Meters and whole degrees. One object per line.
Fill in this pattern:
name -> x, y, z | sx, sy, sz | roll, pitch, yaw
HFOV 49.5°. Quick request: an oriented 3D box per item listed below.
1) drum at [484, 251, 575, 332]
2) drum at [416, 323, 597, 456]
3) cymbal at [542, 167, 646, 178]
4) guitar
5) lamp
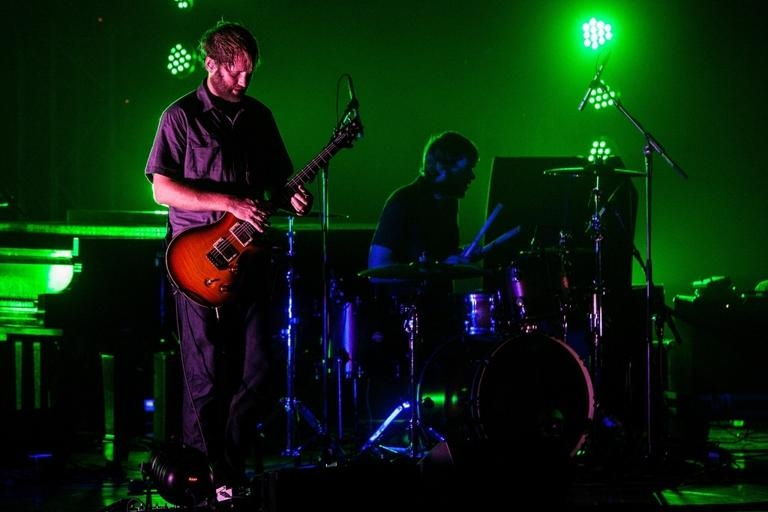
drum -> 1.185, 0.277, 6.589 | 0.595, 0.686, 0.412 | 1, -5, 10
drum -> 0.841, 1.188, 6.684 | 1.137, 1.064, 1.036 | 9, -14, -15
cymbal -> 1.736, -0.701, 6.864 | 0.791, 0.105, 0.251 | 1, -4, 5
guitar -> -0.856, -0.414, 5.957 | 0.612, 1.809, 0.239 | 48, -9, -20
lamp -> -1.314, 1.415, 5.418 | 0.399, 0.410, 0.121 | 1, -5, 15
